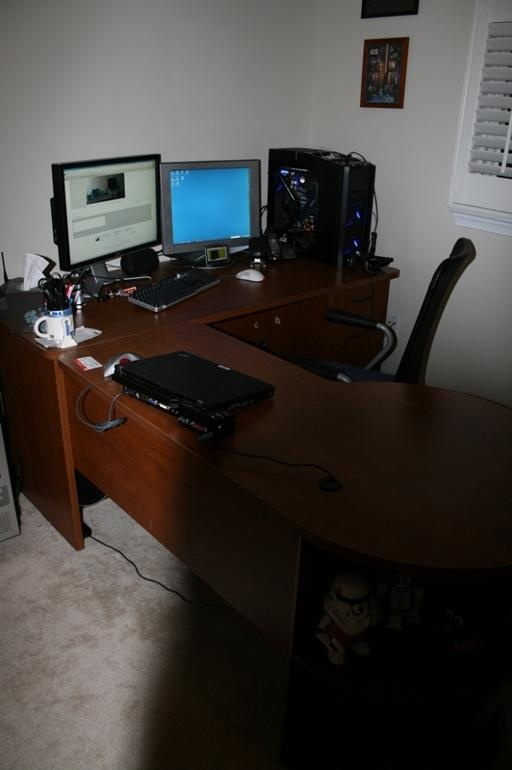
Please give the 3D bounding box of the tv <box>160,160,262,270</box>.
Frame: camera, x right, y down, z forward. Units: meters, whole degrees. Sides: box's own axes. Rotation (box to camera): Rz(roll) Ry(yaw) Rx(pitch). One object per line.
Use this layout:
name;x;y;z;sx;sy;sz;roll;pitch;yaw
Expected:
tv;-0.203;-0.721;2.400;0.398;0.363;0.172;-10;27;-24

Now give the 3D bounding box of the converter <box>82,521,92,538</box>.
converter;-0.594;0.503;1.997;0.017;0.010;0.066;-10;36;-36

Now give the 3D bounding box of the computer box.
computer box;0.291;-0.828;2.604;0.269;0.435;0.447;-23;42;-35

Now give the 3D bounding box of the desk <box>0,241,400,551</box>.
desk;-0.230;0.026;1.566;0.436;0.465;0.865;26;42;30

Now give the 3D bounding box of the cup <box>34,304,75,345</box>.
cup;-0.562;-0.174;1.643;0.120;0.126;0.091;-14;34;-30

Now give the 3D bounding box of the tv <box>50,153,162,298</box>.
tv;-0.557;-0.583;2.063;0.142;0.450;0.490;14;27;26

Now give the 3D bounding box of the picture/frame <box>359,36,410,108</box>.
picture/frame;0.578;-1.388;2.524;0.021;0.310;0.273;-24;40;-37
